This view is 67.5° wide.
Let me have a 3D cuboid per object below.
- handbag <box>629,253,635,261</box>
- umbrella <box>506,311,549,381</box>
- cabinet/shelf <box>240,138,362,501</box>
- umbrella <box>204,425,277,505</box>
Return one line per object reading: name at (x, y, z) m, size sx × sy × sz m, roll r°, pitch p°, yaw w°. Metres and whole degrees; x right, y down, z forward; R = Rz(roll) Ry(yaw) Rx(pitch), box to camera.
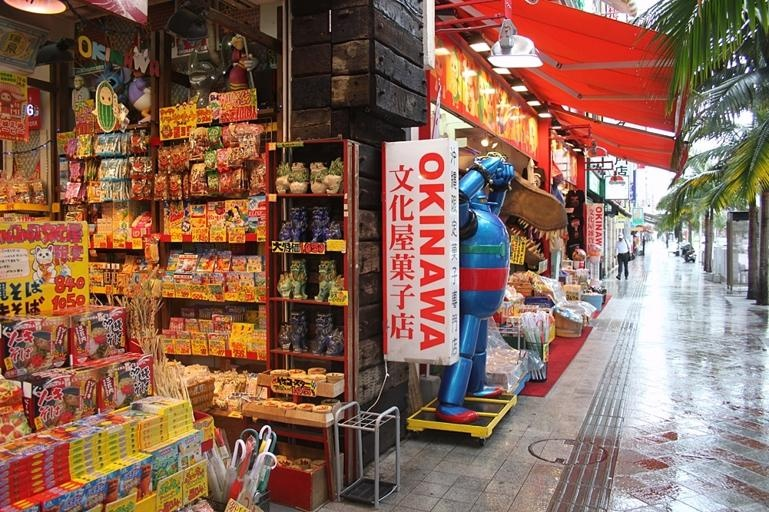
handbag at (15.252, -0.016, 35.586) m, size 0.142 × 0.534 × 0.219 m, roll 9°, pitch -1°, yaw -18°
umbrella at (1.987, 1.199, 7.866) m, size 0.591 × 0.834 × 0.984 m, roll 0°, pitch 7°, yaw 5°
cabinet/shelf at (-0.740, 0.527, 5.306) m, size 0.983 × 3.137 × 0.929 m, roll 3°, pitch 7°, yaw 9°
umbrella at (-1.139, 1.582, 4.543) m, size 0.489 × 0.576 × 0.630 m, roll -3°, pitch 7°, yaw -19°
